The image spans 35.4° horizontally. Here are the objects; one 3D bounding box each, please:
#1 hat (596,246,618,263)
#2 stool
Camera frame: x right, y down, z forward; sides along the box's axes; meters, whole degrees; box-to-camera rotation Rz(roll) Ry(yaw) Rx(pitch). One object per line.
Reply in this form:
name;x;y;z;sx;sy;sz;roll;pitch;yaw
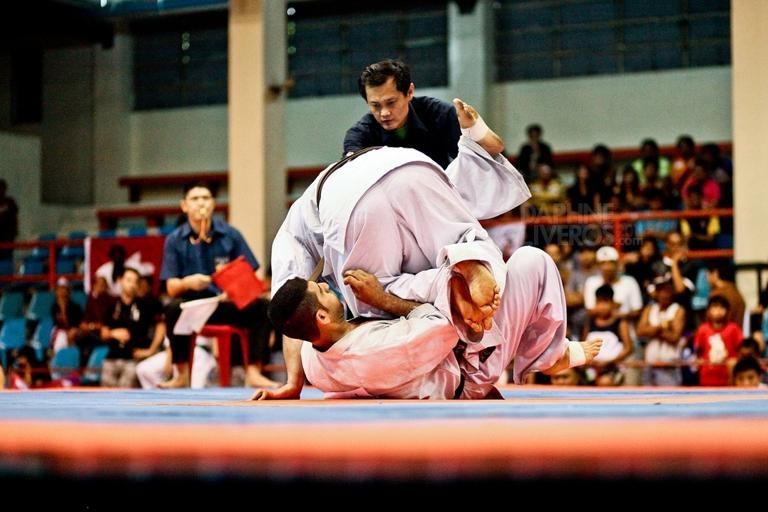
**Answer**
hat;2.237;-0.014;12.020;0.158;0.116;0.163;2;-8;6
stool;-1.490;0.896;11.064;0.583;0.612;0.542;-1;-12;6
